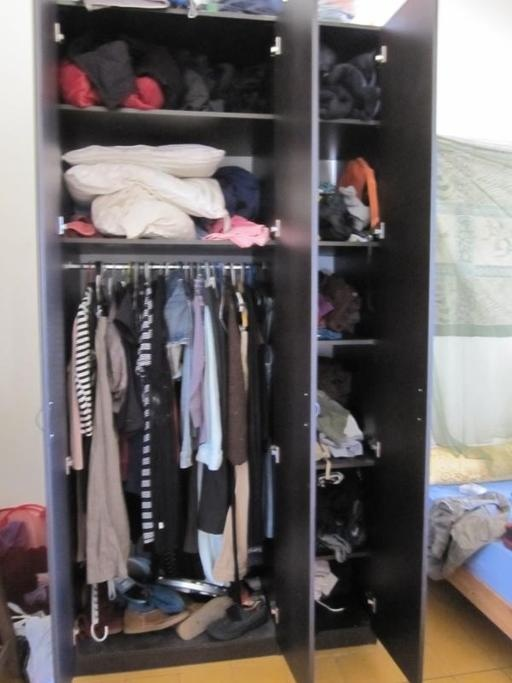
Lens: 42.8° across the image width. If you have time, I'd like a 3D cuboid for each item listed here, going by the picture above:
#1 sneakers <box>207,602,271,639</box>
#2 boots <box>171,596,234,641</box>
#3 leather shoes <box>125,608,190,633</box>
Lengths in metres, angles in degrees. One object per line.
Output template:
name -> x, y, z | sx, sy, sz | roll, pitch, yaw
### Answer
sneakers -> -0.067, 0.999, 2.391 | 0.182, 0.076, 0.095 | -4, -4, -35
boots -> -0.194, 1.016, 2.382 | 0.233, 0.080, 0.093 | -28, -10, -27
leather shoes -> -0.352, 1.016, 2.370 | 0.225, 0.089, 0.086 | -7, -9, -4
